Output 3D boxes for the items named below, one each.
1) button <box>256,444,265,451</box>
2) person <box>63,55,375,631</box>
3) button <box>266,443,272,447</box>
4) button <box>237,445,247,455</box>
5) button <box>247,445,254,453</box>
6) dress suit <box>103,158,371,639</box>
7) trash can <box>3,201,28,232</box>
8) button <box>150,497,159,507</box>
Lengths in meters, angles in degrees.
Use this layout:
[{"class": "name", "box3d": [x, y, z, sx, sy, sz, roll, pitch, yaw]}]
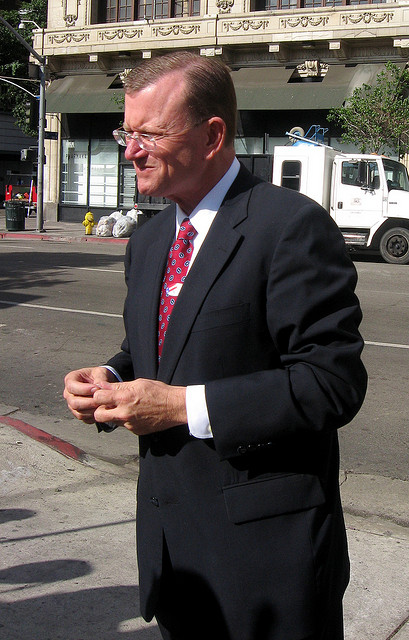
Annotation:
[{"class": "button", "box3d": [0.105, 0.235, 1.131, 0.013, 0.013, 0.003, 19, 45, -10]}, {"class": "person", "box3d": [0.004, 0.093, 1.302, 0.646, 1.296, 0.466, 8, 6, 42]}, {"class": "button", "box3d": [0.121, 0.231, 1.131, 0.012, 0.010, 0.008, 1, 5, -26]}, {"class": "button", "box3d": [0.070, 0.239, 1.128, 0.012, 0.021, 0.018, 7, 5, 30]}, {"class": "button", "box3d": [0.084, 0.236, 1.132, 0.014, 0.013, 0.003, 13, 40, 3]}, {"class": "dress suit", "box3d": [0.043, 0.177, 1.326, 0.603, 1.073, 0.343, 8, 6, 44]}, {"class": "trash can", "box3d": [-7.947, -4.473, 26.055, 1.242, 1.346, 1.184, 6, 15, 19]}, {"class": "button", "box3d": [-0.106, 0.385, 1.298, 0.014, 0.006, 0.023, -40, 14, -10]}]
